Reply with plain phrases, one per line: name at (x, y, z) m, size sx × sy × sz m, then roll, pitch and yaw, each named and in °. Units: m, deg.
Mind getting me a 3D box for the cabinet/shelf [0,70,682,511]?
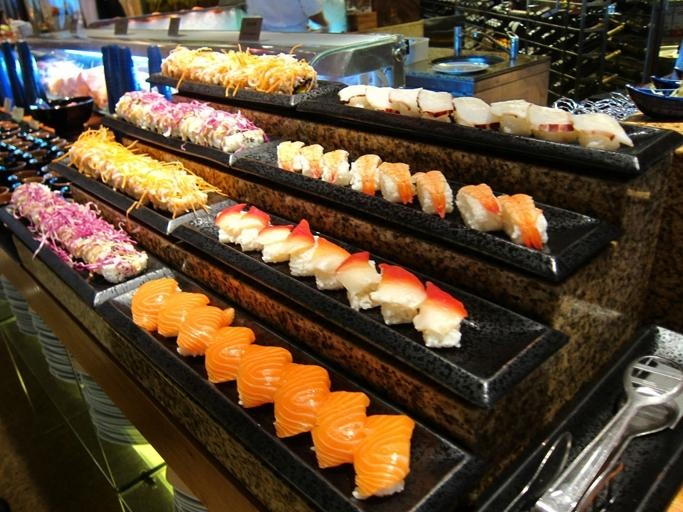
cabinet/shelf at (0.180, 0.022, 1.719) m, size 0.912 × 0.755 × 1.409 m, roll -26°, pitch 32°, yaw -38°
